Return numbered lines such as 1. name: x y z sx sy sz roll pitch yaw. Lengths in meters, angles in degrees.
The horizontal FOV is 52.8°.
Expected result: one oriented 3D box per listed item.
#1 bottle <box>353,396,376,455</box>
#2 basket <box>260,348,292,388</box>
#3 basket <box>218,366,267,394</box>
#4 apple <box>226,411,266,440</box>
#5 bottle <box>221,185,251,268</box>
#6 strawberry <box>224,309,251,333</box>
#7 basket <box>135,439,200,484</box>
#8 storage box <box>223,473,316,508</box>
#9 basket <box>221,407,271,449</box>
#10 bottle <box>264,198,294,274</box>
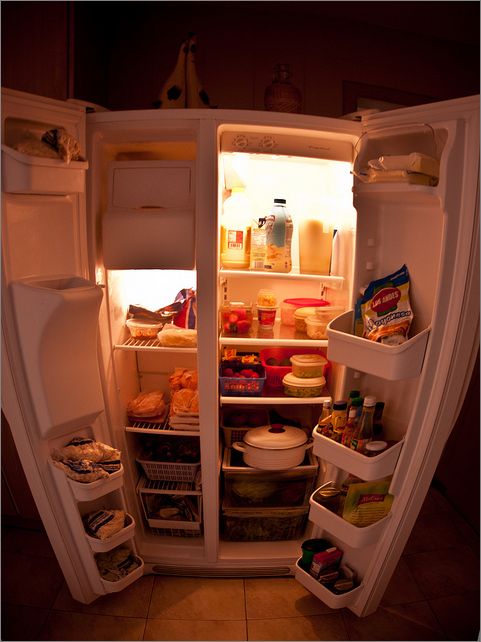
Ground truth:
1. bottle: 0.409 0.315 1.562 0.053 0.180 0.135 11 16 37
2. basket: 0.158 0.201 2.100 0.123 0.058 0.166 0 10 1
3. basket: 0.007 0.231 1.985 0.190 0.095 0.199 1 13 0
4. apple: 0.013 0.454 2.132 0.107 0.057 0.151 -1 7 4
5. bottle: -0.019 -0.368 1.914 0.117 0.311 0.078 0 13 -5
6. strawberry: -0.009 -0.006 1.944 0.100 0.086 0.099 1 4 4
7. basket: -0.311 0.597 2.119 0.268 0.146 0.250 0 13 -5
8. storage box: 0.117 0.702 2.019 0.287 0.117 0.193 1 -5 -3
9. basket: 0.021 0.462 2.081 0.166 0.082 0.215 -1 7 1
10. bottle: 0.170 -0.339 1.912 0.093 0.282 0.164 14 18 42
